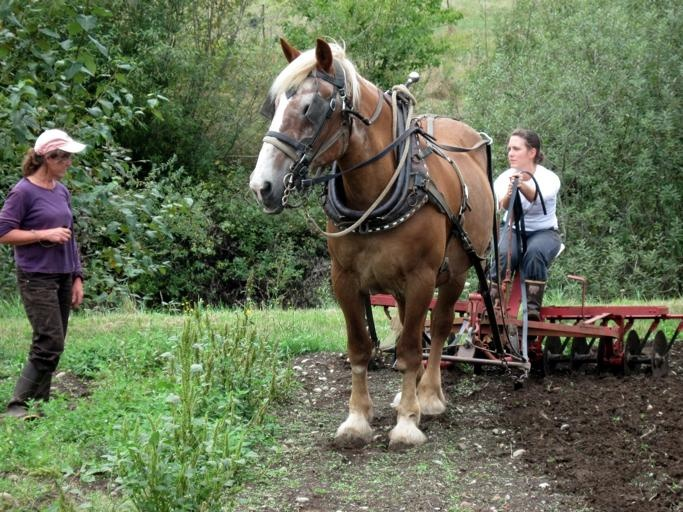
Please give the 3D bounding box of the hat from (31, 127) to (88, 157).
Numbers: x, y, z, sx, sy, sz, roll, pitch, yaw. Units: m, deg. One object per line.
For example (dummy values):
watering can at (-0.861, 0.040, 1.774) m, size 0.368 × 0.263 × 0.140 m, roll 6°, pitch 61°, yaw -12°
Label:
hat at (-2.617, -1.063, 7.116) m, size 0.388 × 0.175 × 0.262 m, roll -2°, pitch 8°, yaw -6°

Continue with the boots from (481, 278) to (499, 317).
boots at (1.521, 0.436, 7.850) m, size 0.223 × 0.335 × 0.315 m, roll 5°, pitch 22°, yaw 9°

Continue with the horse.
horse at (0.398, -0.125, 6.962) m, size 1.130 × 3.539 × 2.776 m, roll 11°, pitch 16°, yaw 40°
